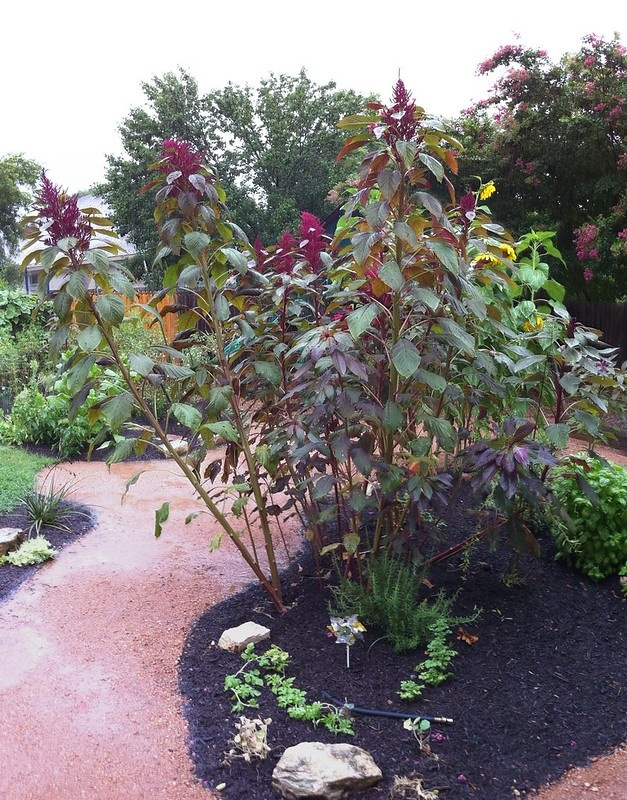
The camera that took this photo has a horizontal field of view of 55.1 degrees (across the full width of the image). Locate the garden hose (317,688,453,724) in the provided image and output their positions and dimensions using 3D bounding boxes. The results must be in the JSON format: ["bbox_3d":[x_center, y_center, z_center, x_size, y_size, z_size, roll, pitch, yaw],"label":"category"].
[{"bbox_3d":[0.279,1.112,2.182,0.586,0.056,0.067,3,5,17],"label":"garden hose"}]
